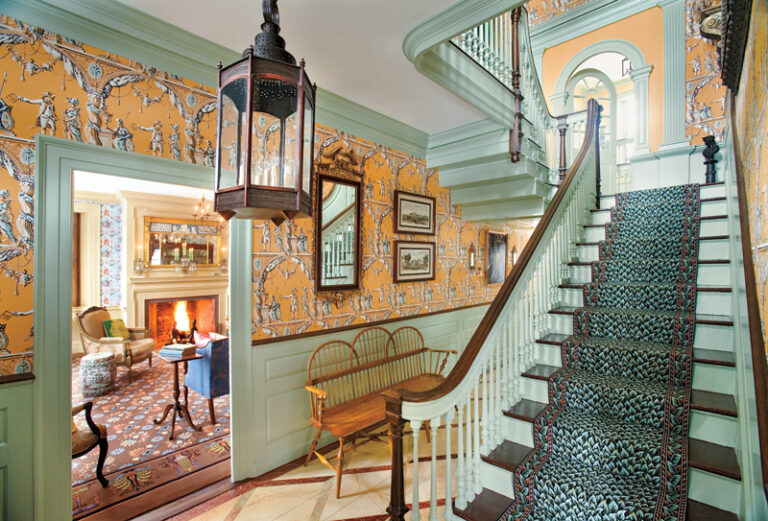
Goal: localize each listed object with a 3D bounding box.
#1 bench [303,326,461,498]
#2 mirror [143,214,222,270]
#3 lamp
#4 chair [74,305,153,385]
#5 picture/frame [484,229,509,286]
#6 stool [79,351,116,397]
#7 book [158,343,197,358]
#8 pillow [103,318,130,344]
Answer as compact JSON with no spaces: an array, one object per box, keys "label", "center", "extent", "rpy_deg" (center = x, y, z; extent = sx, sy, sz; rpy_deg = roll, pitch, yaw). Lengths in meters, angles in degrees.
[{"label":"bench","center":[-0.095,1.604,5.414],"extent":[0.489,0.968,1.503],"rpy_deg":[0,1,36]},{"label":"mirror","center":[-3.462,-0.300,8.834],"extent":[0.076,0.683,0.950],"rpy_deg":[-5,-4,40]},{"label":"lamp","center":[-0.849,-1.053,3.694],"extent":[0.715,1.296,0.248],"rpy_deg":[-3,-1,-16]},{"label":"chair","center":[-4.103,1.221,7.916],"extent":[1.011,1.346,0.943],"rpy_deg":[-2,0,3]},{"label":"picture/frame","center":[1.777,-0.046,8.315],"extent":[0.070,1.079,0.925],"rpy_deg":[0,0,29]},{"label":"stool","center":[-3.741,1.518,7.051],"extent":[0.483,0.528,0.495],"rpy_deg":[-2,-3,25]},{"label":"book","center":[-2.325,1.026,5.877],"extent":[0.391,0.124,0.249],"rpy_deg":[-3,-2,-14]},{"label":"pillow","center":[-3.967,1.009,7.745],"extent":[0.107,0.337,0.355],"rpy_deg":[-27,-15,17]}]
